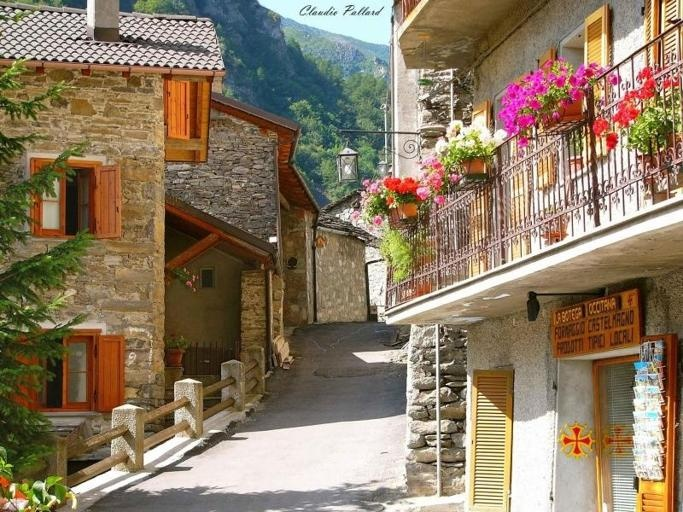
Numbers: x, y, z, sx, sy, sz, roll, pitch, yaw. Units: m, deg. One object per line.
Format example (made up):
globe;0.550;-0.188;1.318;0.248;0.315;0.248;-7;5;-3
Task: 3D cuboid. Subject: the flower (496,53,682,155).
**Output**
flower;2.257;-1.545;10.034;1.231;0.537;0.986;0;-1;-21

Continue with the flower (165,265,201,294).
flower;-3.589;0.585;22.535;0.803;0.570;0.437;0;7;-25

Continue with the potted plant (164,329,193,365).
potted plant;-3.547;2.039;21.059;0.620;0.811;0.629;-10;-20;35

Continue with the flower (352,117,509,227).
flower;1.222;-1.024;12.536;1.444;0.562;1.594;-16;-13;-33
